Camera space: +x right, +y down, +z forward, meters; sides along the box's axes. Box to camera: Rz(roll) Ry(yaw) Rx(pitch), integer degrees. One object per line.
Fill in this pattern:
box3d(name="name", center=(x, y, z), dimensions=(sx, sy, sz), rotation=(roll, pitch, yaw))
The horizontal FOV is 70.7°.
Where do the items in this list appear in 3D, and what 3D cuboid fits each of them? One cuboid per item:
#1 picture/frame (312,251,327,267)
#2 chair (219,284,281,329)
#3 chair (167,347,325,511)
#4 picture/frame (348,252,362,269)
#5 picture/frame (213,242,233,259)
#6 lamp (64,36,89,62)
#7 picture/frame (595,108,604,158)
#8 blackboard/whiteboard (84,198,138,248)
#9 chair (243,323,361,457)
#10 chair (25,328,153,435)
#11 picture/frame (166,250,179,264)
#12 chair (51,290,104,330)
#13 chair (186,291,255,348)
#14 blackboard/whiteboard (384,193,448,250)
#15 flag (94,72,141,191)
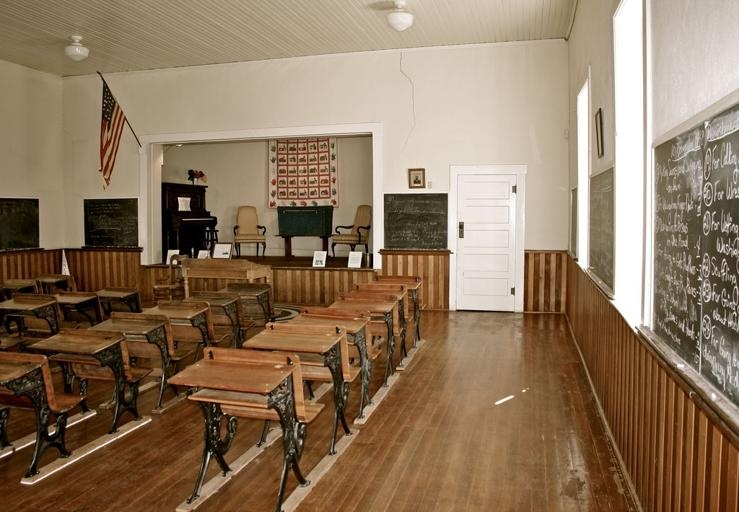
box3d(name="picture/frame", center=(-0.921, 0.027, 9.715), dimensions=(0.274, 0.353, 0.018), rotation=(1, -7, 12))
box3d(name="chair", center=(-1.582, 0.553, 7.167), dimensions=(0.925, 0.748, 0.566), rotation=(2, 6, 17))
box3d(name="chair", center=(-0.826, 1.062, 3.924), dimensions=(0.842, 1.138, 1.080), rotation=(2, 8, 14))
box3d(name="picture/frame", center=(-0.254, 0.051, 9.515), dimensions=(0.311, 0.446, 0.046), rotation=(2, -40, 4))
box3d(name="picture/frame", center=(-2.681, -0.125, 9.478), dimensions=(0.275, 0.230, 0.031), rotation=(-1, -12, 19))
box3d(name="lamp", center=(-4.770, -3.419, 8.555), dimensions=(0.311, 0.353, 0.329), rotation=(10, 15, 29))
box3d(name="picture/frame", center=(2.331, -1.260, 5.251), dimensions=(0.059, 0.633, 0.487), rotation=(1, 9, 31))
box3d(name="blackboard/whiteboard", center=(-5.166, -0.709, 10.493), dimensions=(0.889, 0.856, 0.061), rotation=(0, -1, 12))
box3d(name="chair", center=(-0.462, 1.050, 4.476), dimensions=(0.945, 1.203, 0.940), rotation=(1, 6, 23))
box3d(name="chair", center=(-2.495, 1.090, 4.732), dimensions=(0.824, 1.113, 0.965), rotation=(2, 4, 13))
box3d(name="picture/frame", center=(-3.632, -0.010, 9.610), dimensions=(0.256, 0.318, 0.039), rotation=(2, -7, -41))
box3d(name="chair", center=(-3.577, 0.651, 6.360), dimensions=(0.428, 0.319, 0.247), rotation=(0, -5, 27))
box3d(name="chair", center=(-1.654, 0.731, 6.154), dimensions=(0.467, 0.775, 0.757), rotation=(2, 7, 10))
box3d(name="blackboard/whiteboard", center=(0.859, -0.655, 9.061), dimensions=(0.864, 0.827, 0.043), rotation=(0, 1, 9))
box3d(name="flag", center=(-4.700, -2.342, 9.714), dimensions=(0.719, 2.149, 1.802), rotation=(-5, 12, -27))
